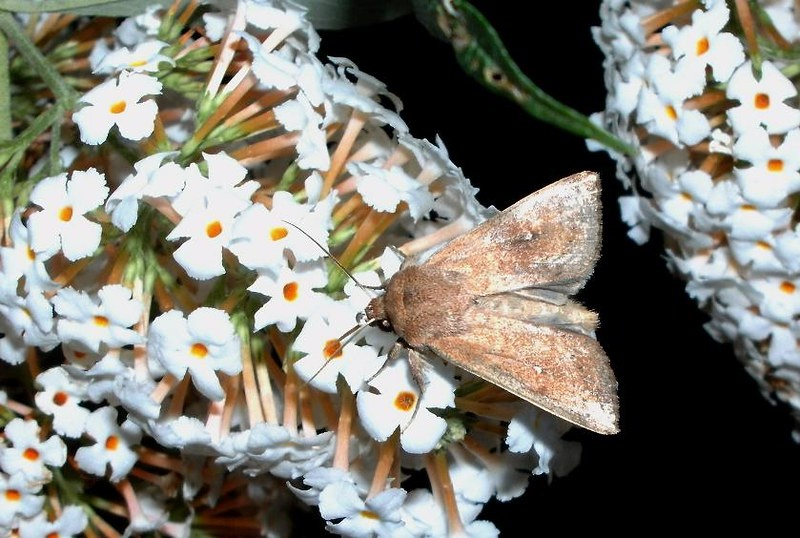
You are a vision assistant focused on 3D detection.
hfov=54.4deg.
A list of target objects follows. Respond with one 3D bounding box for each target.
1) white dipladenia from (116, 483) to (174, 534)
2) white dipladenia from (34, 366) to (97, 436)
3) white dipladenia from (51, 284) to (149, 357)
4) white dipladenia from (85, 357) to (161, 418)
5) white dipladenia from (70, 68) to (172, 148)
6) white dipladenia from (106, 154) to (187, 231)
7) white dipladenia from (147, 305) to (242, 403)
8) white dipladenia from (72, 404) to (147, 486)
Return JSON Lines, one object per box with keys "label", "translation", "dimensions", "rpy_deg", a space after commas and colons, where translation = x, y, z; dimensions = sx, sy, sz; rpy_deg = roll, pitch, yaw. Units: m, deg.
{"label": "white dipladenia", "translation": [-0.778, 0.726, 2.349], "dimensions": [0.114, 0.098, 0.215], "rpy_deg": [-3, 10, -28]}
{"label": "white dipladenia", "translation": [-0.935, 0.343, 2.129], "dimensions": [0.166, 0.055, 0.188], "rpy_deg": [-13, 4, -22]}
{"label": "white dipladenia", "translation": [-0.777, 0.126, 2.030], "dimensions": [0.223, 0.067, 0.241], "rpy_deg": [-10, 0, -23]}
{"label": "white dipladenia", "translation": [-0.736, 0.301, 1.988], "dimensions": [0.239, 0.058, 0.191], "rpy_deg": [23, 11, 39]}
{"label": "white dipladenia", "translation": [-0.750, -0.427, 2.061], "dimensions": [0.245, 0.090, 0.201], "rpy_deg": [-2, 52, 22]}
{"label": "white dipladenia", "translation": [-0.640, -0.205, 1.937], "dimensions": [0.189, 0.052, 0.189], "rpy_deg": [-45, 27, -6]}
{"label": "white dipladenia", "translation": [-0.500, 0.198, 1.965], "dimensions": [0.194, 0.202, 0.160], "rpy_deg": [-42, 48, -12]}
{"label": "white dipladenia", "translation": [-0.790, 0.486, 2.111], "dimensions": [0.127, 0.174, 0.179], "rpy_deg": [26, 67, 37]}
